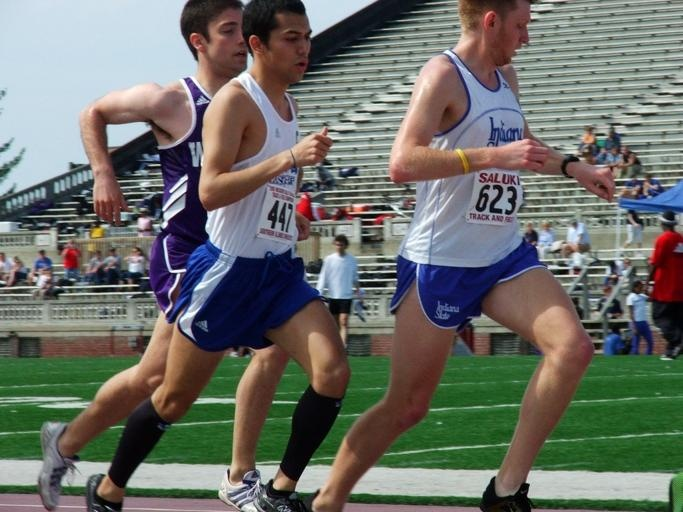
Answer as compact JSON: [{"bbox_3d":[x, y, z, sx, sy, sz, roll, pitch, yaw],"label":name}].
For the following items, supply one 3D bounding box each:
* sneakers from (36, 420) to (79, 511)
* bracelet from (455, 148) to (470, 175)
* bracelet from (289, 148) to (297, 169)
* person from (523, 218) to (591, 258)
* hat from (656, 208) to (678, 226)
[{"bbox_3d":[-1.837,1.335,7.888,0.295,0.576,0.220,-10,-7,23],"label":"sneakers"},{"bbox_3d":[0.703,-0.557,7.107,0.043,0.110,0.118,-22,13,8],"label":"bracelet"},{"bbox_3d":[-0.290,-0.580,7.179,0.043,0.111,0.070,0,2,-2],"label":"bracelet"},{"bbox_3d":[3.677,-0.286,20.614,1.366,0.602,0.546,0,9,4],"label":"person"},{"bbox_3d":[4.142,-0.477,15.524,0.328,0.179,0.383,3,7,4],"label":"hat"}]
